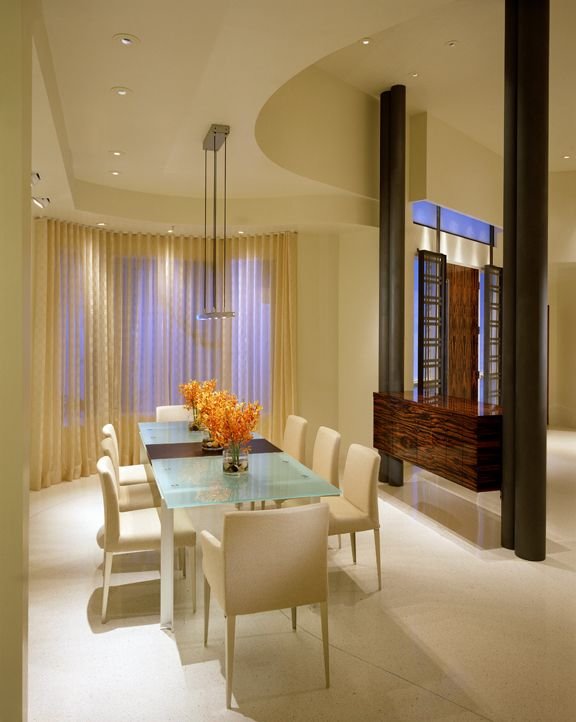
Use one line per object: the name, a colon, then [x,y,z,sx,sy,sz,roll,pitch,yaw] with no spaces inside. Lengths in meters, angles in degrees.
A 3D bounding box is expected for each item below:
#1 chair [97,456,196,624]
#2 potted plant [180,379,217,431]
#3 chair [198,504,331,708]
chair: [-0.773,0.864,3.392,0.573,1.248,0.671,-1,5,-11]
potted plant: [-0.648,0.326,4.159,0.254,0.396,0.265,-1,3,-38]
chair: [-0.093,0.888,2.591,0.509,1.180,0.604,0,3,-19]
